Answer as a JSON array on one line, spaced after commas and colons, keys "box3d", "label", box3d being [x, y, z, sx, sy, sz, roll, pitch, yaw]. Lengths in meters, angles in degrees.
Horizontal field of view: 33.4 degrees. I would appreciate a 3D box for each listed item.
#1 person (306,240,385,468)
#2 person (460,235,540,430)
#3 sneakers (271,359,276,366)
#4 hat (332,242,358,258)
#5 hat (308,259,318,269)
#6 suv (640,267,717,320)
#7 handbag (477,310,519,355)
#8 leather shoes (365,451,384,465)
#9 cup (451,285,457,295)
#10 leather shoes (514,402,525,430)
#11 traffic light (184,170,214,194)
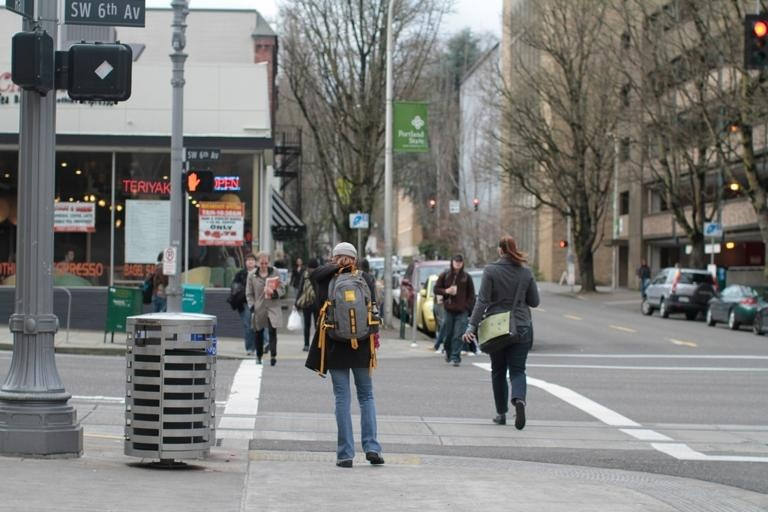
[{"box3d": [-0.652, 1.771, 22.737, 1.241, 3.993, 0.620, -1, -2, -1], "label": "person"}, {"box3d": [2.370, 1.523, 24.847, 1.265, 3.752, 0.606, -1, -2, 5], "label": "person"}, {"box3d": [-2.600, 2.546, 30.064, 0.120, 0.143, 0.117, -2, -3, 41], "label": "sneakers"}, {"box3d": [-0.694, -0.077, 22.796, 0.295, 0.195, 0.297, 6, -5, -29], "label": "hat"}, {"box3d": [-1.804, 0.231, 32.459, 0.209, 0.235, 0.308, 0, -6, -4], "label": "hat"}, {"box3d": [10.746, 1.325, 46.662, 1.327, 1.183, 2.650, 0, 2, -10], "label": "suv"}, {"box3d": [2.230, 1.498, 24.679, 0.651, 0.559, 0.261, -23, -17, 21], "label": "handbag"}, {"box3d": [-0.152, 3.629, 22.672, 0.333, 0.237, 0.290, -1, -3, 0], "label": "leather shoes"}, {"box3d": [1.677, 0.839, 30.694, 0.138, 0.217, 0.247, -2, -3, 19], "label": "cup"}, {"box3d": [2.610, 3.107, 24.587, 0.193, 0.553, 0.227, -2, -1, -3], "label": "leather shoes"}, {"box3d": [-4.571, -1.982, 31.798, 0.881, 0.807, 0.463, 1, 5, -3], "label": "traffic light"}]
